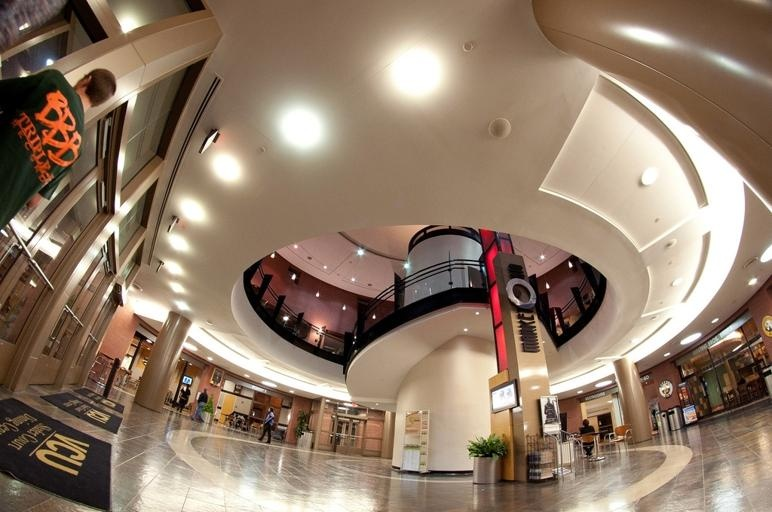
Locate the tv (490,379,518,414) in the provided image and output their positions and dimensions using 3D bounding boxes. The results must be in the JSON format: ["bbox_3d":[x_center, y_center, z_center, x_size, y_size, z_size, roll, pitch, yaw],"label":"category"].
[{"bbox_3d":[2.756,3.248,8.956,0.088,0.545,0.934,16,-31,-10],"label":"tv"}]

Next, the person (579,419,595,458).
[{"bbox_3d":[6.483,5.852,12.418,0.513,0.498,1.514,-6,-69,18],"label":"person"}]

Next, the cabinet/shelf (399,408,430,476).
[{"bbox_3d":[0.882,5.341,11.201,0.264,1.632,1.005,31,-43,-34],"label":"cabinet/shelf"}]

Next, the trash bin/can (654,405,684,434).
[{"bbox_3d":[10.339,5.946,14.088,0.673,1.051,1.214,17,-24,0],"label":"trash bin/can"}]

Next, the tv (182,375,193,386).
[{"bbox_3d":[-10.256,6.381,19.899,0.252,0.438,0.479,-28,-45,25],"label":"tv"}]

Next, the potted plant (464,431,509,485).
[{"bbox_3d":[2.344,4.467,8.695,0.792,1.073,1.016,0,-14,-2],"label":"potted plant"}]
